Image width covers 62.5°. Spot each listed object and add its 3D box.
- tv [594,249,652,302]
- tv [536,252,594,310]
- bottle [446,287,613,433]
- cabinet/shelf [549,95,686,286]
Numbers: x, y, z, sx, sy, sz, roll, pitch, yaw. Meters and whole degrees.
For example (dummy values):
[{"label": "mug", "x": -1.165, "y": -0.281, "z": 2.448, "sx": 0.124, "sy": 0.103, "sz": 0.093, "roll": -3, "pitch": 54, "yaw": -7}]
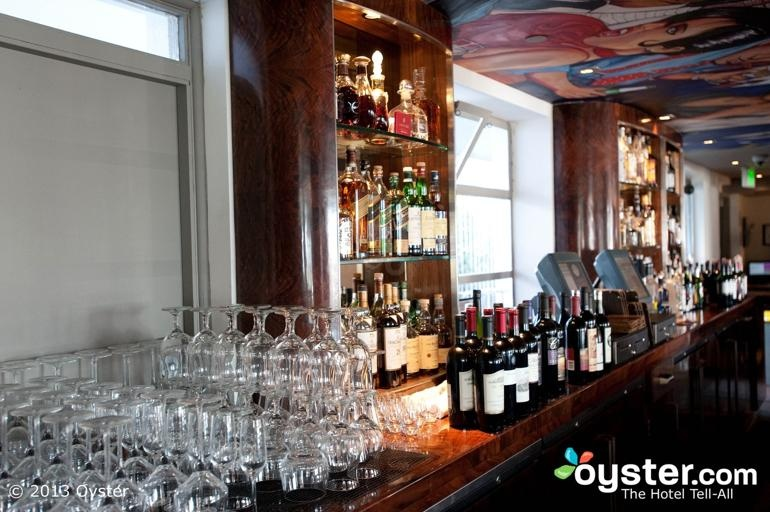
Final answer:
[{"label": "tv", "x": 1.549, "y": 0.129, "z": 4.158, "sx": 0.316, "sy": 0.358, "sz": 0.540, "roll": -1, "pitch": 0, "yaw": 30}, {"label": "tv", "x": 1.022, "y": 0.142, "z": 3.617, "sx": 0.170, "sy": 0.311, "sz": 0.244, "roll": -20, "pitch": 8, "yaw": 35}, {"label": "bottle", "x": 0.485, "y": 0.458, "z": 2.645, "sx": 0.443, "sy": 0.507, "sz": 0.203, "roll": -1, "pitch": 0, "yaw": -27}, {"label": "cabinet/shelf", "x": 2.327, "y": -0.352, "z": 5.977, "sx": 1.900, "sy": 1.781, "sz": 0.648, "roll": 13, "pitch": -15, "yaw": -43}]
